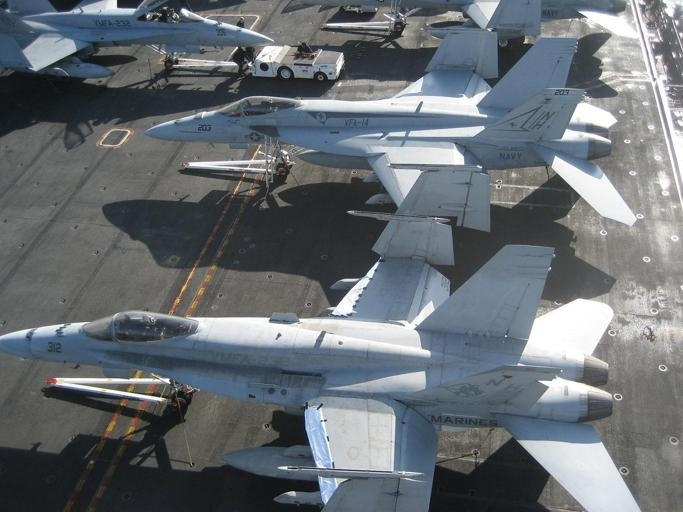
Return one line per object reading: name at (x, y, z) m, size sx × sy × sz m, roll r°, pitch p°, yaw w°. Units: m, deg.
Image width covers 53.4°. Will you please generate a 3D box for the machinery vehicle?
machinery vehicle at (-2.693, -11.797, 42.868) m, size 6.135 × 1.610 × 2.341 m, roll 4°, pitch 48°, yaw 4°
